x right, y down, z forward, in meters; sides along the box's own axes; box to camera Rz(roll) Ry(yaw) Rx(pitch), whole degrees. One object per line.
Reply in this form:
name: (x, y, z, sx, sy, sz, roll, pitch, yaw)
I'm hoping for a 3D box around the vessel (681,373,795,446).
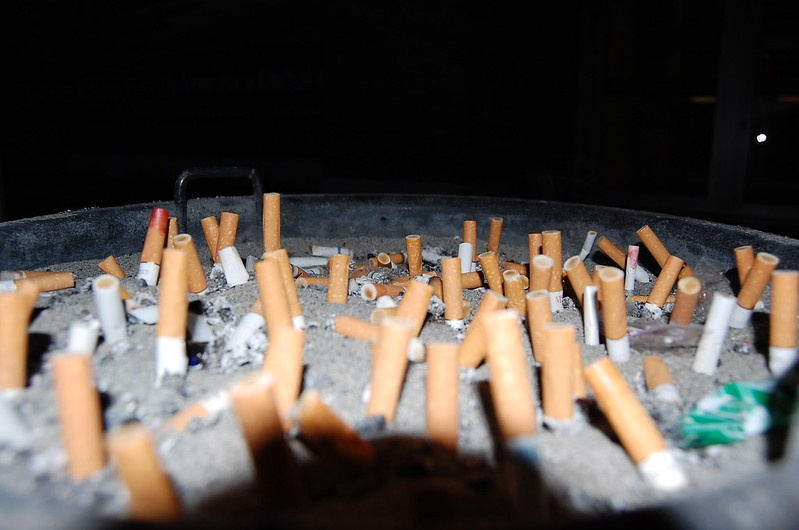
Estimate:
vessel: (1.236, 0.532, 2.278, 0.353, 0.216, 0.090, -18, -41, 5)
